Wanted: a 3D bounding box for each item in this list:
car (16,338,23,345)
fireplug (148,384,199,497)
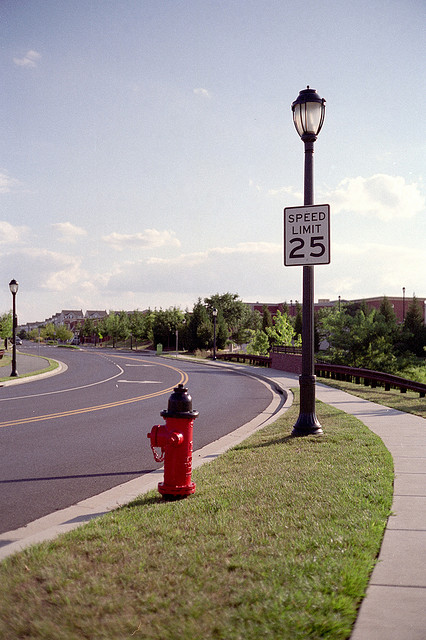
[{"bbox_3d":[-31.324,3.340,113.274,1.124,0.856,2.444,1,11,-8],"label":"car"},{"bbox_3d":[-0.347,1.055,6.218,0.365,0.700,0.381,1,-1,29],"label":"fireplug"}]
